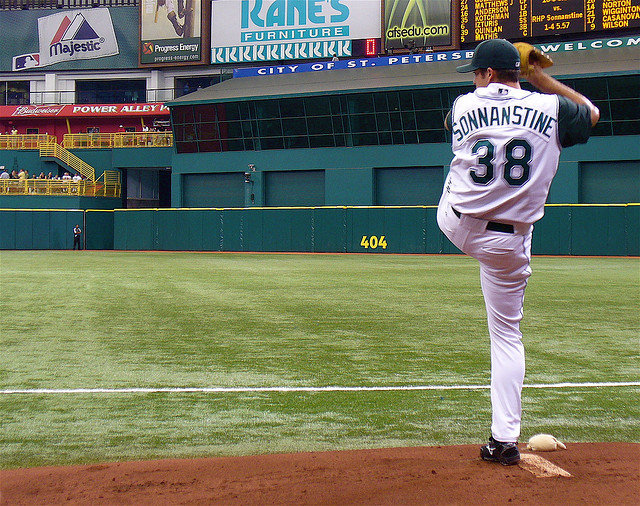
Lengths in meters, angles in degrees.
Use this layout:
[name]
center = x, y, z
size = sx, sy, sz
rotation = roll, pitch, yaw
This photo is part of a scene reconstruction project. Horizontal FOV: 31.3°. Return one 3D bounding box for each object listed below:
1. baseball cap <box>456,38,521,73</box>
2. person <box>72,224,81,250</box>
[baseball cap]
center = 2.228, -2.533, 14.826
size = 0.569, 0.289, 0.372
rotation = 4, 13, 18
[person]
center = -10.716, -0.696, 50.634
size = 0.329, 1.124, 1.350
rotation = -1, 2, -13
